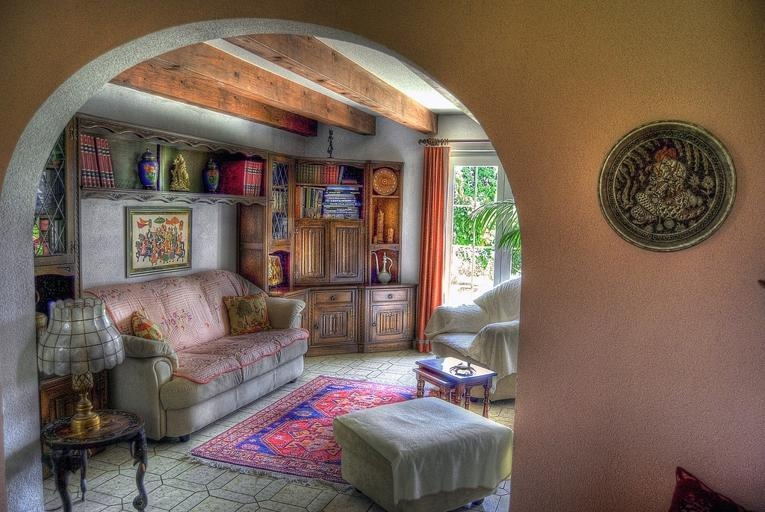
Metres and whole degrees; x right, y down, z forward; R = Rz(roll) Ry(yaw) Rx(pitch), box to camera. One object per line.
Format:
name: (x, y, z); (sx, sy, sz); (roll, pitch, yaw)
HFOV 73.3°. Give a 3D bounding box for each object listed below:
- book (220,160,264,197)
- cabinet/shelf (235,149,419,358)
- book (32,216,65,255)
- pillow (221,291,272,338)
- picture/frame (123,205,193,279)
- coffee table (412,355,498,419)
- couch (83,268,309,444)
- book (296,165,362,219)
book: (-1.620, -0.875, 5.824); (0.500, 0.449, 0.268); (1, 8, -23)
cabinet/shelf: (-0.742, 0.004, 6.454); (2.920, 2.932, 0.836); (-1, 1, -24)
book: (-2.454, -0.144, 3.750); (0.017, 0.258, 0.284); (-3, -8, 32)
pillow: (-1.493, 0.658, 5.587); (0.452, 0.388, 0.162); (-5, -11, -33)
picture/frame: (-2.298, -0.144, 5.176); (0.066, 0.612, 0.777); (3, 5, 26)
coffee table: (0.662, 1.069, 4.673); (0.578, 0.628, 0.711); (0, 3, -30)
couch: (-1.723, 0.890, 4.733); (1.328, 1.117, 2.140); (2, 4, 23)
book: (-0.735, -0.813, 6.707); (0.765, 0.608, 0.242); (1, -2, -16)
